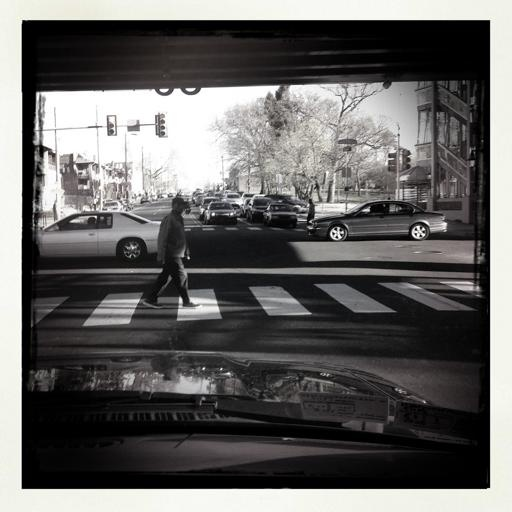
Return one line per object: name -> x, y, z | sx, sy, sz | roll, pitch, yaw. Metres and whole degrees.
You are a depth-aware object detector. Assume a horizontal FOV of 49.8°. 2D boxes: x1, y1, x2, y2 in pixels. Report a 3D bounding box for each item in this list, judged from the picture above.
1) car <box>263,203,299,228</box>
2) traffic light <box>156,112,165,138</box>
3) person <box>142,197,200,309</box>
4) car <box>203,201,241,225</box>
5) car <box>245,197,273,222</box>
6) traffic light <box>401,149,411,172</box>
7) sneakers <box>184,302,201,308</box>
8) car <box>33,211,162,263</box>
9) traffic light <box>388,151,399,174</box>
car -> 1.435, -2.529, 34.010 | 1.986, 1.489, 1.499 | 7, 7, 42
traffic light -> -3.296, -4.532, 18.965 | 0.364, 0.853, 0.532 | 1, 5, -12
person -> -1.595, -0.024, 10.338 | 0.813, 2.228, 1.482 | 1, 5, -10
car -> -2.297, -2.777, 35.972 | 2.038, 1.516, 1.160 | 3, 5, 9
car -> 0.084, -3.429, 39.594 | 1.006, 1.146, 2.164 | -1, 0, -10
traffic light -> 5.406, -3.538, 20.028 | 0.285, 0.851, 2.183 | 3, 6, 14
sneakers -> -1.298, 0.995, 11.132 | 0.309, 0.139, 0.163 | -2, 0, 16
car -> -5.065, -0.643, 17.857 | 3.715, 1.291, 1.801 | 2, 3, 1
traffic light -> 4.579, -3.223, 18.496 | 0.353, 0.675, 1.346 | 3, 6, 15
